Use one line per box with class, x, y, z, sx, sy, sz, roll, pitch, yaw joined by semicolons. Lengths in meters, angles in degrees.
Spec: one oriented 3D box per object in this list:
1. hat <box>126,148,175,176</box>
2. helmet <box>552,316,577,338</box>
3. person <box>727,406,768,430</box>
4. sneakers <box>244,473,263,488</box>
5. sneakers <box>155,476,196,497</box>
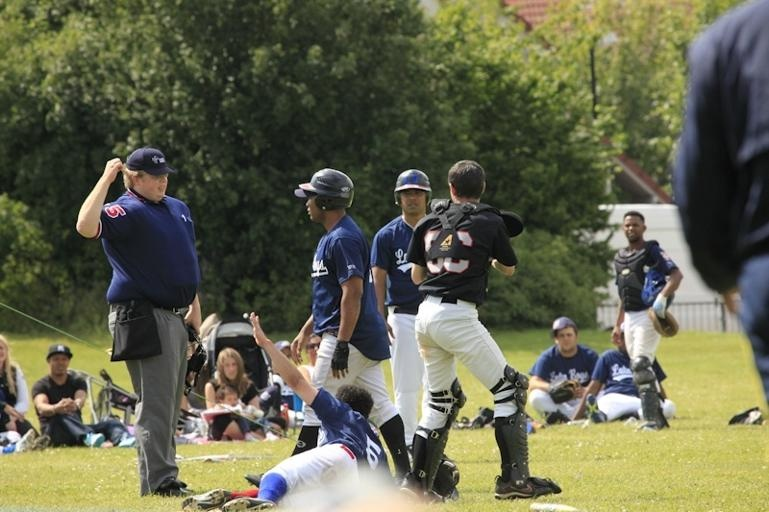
hat;-4.247;-1.661;30.144;0.698;0.363;0.492;-1;13;-10
helmet;3.635;1.430;33.882;0.369;0.379;0.474;3;10;8
person;7.051;3.130;32.747;0.679;0.324;0.794;-5;-6;11
sneakers;-2.300;3.928;29.636;0.309;0.147;0.175;27;3;-22
sneakers;-3.710;4.085;29.653;0.656;0.281;0.292;0;-2;0
